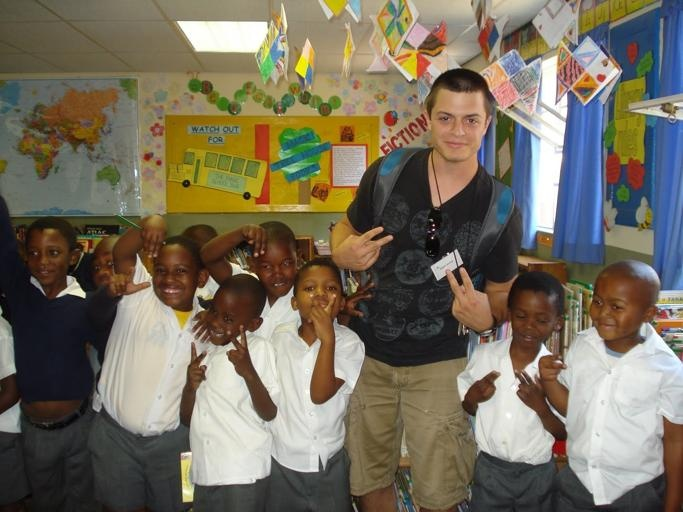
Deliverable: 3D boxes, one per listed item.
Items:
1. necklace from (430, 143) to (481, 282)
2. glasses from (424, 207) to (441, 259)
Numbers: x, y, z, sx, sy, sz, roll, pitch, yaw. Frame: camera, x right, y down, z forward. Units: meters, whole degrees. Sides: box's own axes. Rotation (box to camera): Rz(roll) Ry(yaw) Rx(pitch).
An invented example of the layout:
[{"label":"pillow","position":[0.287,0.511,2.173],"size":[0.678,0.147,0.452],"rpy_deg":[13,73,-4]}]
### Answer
[{"label":"necklace","position":[0.414,-0.159,1.986],"size":[0.180,0.524,0.169],"rpy_deg":[4,4,25]},{"label":"glasses","position":[0.375,-0.093,2.001],"size":[0.059,0.206,0.033],"rpy_deg":[3,4,9]}]
